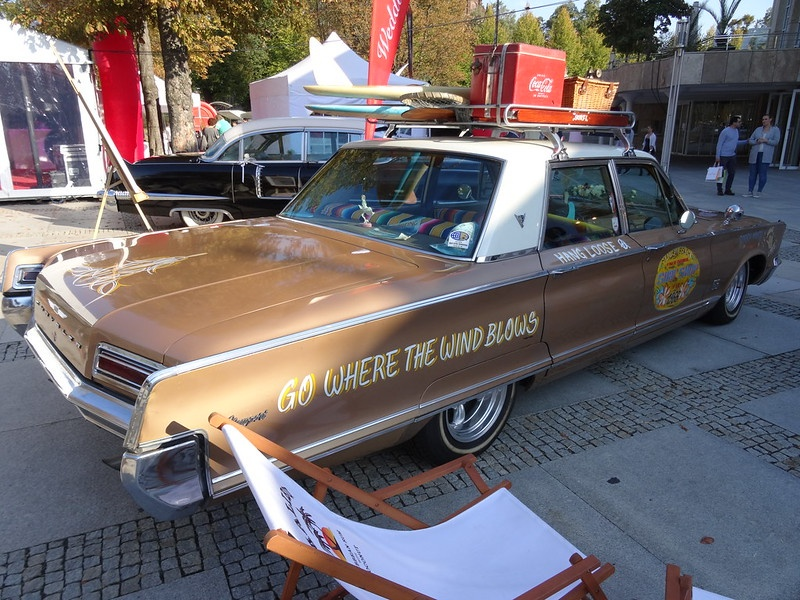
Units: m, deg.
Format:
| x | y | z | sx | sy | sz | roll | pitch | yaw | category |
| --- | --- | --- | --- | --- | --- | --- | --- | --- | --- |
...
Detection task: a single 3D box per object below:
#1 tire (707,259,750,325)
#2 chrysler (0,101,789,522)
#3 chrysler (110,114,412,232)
| x | y | z | sx | sy | sz | roll | pitch | yaw | category |
| --- | --- | --- | --- | --- | --- | --- | --- | --- | --- |
| 3.536 | -0.099 | 5.183 | 0.746 | 0.583 | 0.249 | -20 | 28 | -33 | tire |
| 0.915 | -0.317 | 3.656 | 5.916 | 1.260 | 2.340 | -12 | 27 | -31 | chrysler |
| -2.740 | -2.312 | 8.433 | 5.836 | 1.238 | 2.326 | -6 | 22 | -12 | chrysler |
